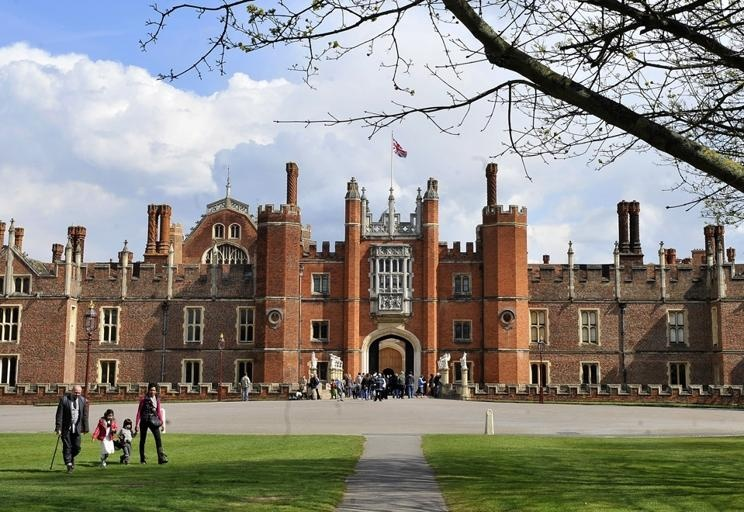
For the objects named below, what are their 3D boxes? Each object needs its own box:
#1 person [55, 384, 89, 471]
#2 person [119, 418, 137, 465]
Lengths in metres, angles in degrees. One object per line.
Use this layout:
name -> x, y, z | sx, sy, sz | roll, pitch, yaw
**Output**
person -> -8.403, 4.866, 36.770 | 0.804, 2.415, 1.569 | 0, -9, -11
person -> -7.068, 5.397, 37.732 | 0.475, 1.278, 0.720 | -3, -9, 6
